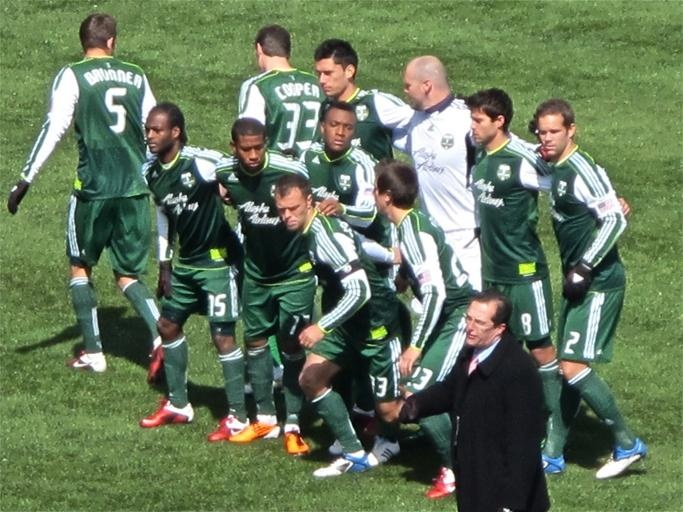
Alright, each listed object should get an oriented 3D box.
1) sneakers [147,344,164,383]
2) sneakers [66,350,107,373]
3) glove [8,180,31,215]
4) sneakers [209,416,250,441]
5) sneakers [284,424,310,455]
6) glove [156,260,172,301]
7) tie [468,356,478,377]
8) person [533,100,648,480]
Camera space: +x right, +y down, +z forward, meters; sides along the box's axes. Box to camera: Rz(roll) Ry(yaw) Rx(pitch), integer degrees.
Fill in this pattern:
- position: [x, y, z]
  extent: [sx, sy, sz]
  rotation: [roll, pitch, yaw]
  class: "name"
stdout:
- position: [-2.200, 1.291, 15.763]
  extent: [0.209, 0.472, 0.171]
  rotation: [10, 0, 34]
  class: "sneakers"
- position: [-3.078, 1.268, 16.100]
  extent: [0.509, 0.224, 0.198]
  rotation: [7, 7, 32]
  class: "sneakers"
- position: [-3.872, -0.692, 15.989]
  extent: [0.239, 0.560, 0.811]
  rotation: [-1, 14, -13]
  class: "glove"
- position: [-1.278, 1.910, 14.977]
  extent: [0.558, 0.240, 0.189]
  rotation: [-9, 7, -16]
  class: "sneakers"
- position: [-0.511, 2.029, 14.700]
  extent: [0.204, 0.150, 0.362]
  rotation: [-6, 20, -18]
  class: "sneakers"
- position: [-2.031, 0.274, 15.230]
  extent: [0.112, 0.373, 0.274]
  rotation: [-2, 3, -20]
  class: "glove"
- position: [1.268, 1.053, 12.797]
  extent: [0.038, 0.159, 0.091]
  rotation: [25, -16, -36]
  class: "tie"
- position: [2.661, 0.352, 14.377]
  extent: [1.449, 3.935, 0.589]
  rotation: [13, 17, 38]
  class: "person"
